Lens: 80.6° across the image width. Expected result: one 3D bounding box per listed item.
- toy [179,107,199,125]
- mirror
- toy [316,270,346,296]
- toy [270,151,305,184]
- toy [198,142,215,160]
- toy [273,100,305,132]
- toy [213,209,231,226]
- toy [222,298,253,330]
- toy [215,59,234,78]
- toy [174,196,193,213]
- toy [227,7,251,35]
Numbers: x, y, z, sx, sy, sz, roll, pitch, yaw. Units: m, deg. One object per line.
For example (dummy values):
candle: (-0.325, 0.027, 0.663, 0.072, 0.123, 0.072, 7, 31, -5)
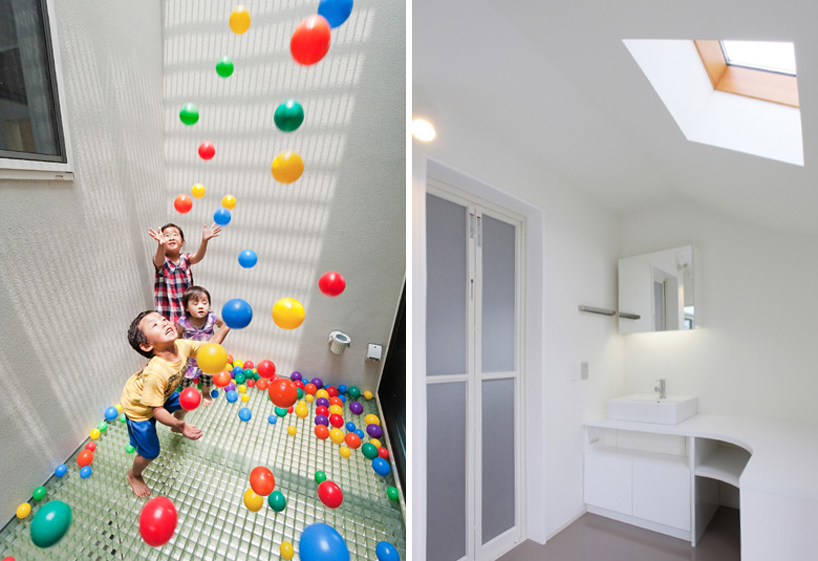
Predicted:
toy: (-0.996, -0.752, 2.186, 0.069, 0.074, 0.130, -4, 14, -15)
mirror: (0.256, 0.015, 0.531, 0.081, 0.116, 0.079, 5, -8, -43)
toy: (-0.231, 0.004, 1.462, 0.064, 0.078, 0.144, -1, 13, -3)
toy: (-0.363, -0.339, 1.429, 0.083, 0.091, 0.177, -4, 14, -17)
toy: (-0.910, -0.589, 2.156, 0.055, 0.070, 0.081, -8, 15, -31)
toy: (-0.358, -0.501, 1.442, 0.075, 0.096, 0.147, -2, 13, -9)
toy: (-0.838, -0.289, 2.157, 0.063, 0.080, 0.063, 30, 35, 31)
toy: (-0.498, 0.092, 1.401, 0.070, 0.120, 0.171, -4, 14, -17)
toy: (-0.816, -0.933, 2.109, 0.060, 0.068, 0.119, -9, 16, -33)
toy: (-1.054, -0.361, 2.252, 0.064, 0.082, 0.165, -5, 14, -21)
toy: (-0.630, -0.974, 1.797, 0.066, 0.102, 0.154, -3, 13, -13)
